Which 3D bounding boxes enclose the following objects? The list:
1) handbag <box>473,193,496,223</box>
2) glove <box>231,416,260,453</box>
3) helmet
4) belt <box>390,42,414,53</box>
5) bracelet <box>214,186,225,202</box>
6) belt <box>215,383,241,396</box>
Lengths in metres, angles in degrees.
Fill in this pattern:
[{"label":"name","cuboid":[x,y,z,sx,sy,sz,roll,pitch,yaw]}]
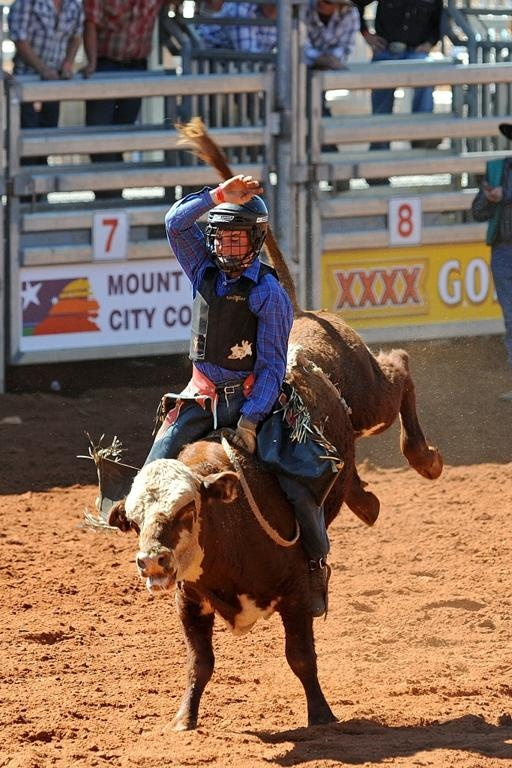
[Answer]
[{"label":"handbag","cuboid":[1.669,-1.266,9.352,0.160,0.210,0.091,-2,6,-5]},{"label":"glove","cuboid":[-0.033,0.187,4.642,0.067,0.054,0.139,11,43,-4]},{"label":"helmet","cuboid":[-0.056,-0.517,4.595,0.205,0.258,0.273,0,7,26]},{"label":"belt","cuboid":[1.174,-2.696,10.428,0.093,0.091,0.022,4,63,-1]},{"label":"bracelet","cuboid":[-0.130,-0.683,4.717,0.047,0.041,0.058,4,49,-8]},{"label":"belt","cuboid":[-0.100,0.014,4.730,0.056,0.025,0.063,1,3,26]}]
